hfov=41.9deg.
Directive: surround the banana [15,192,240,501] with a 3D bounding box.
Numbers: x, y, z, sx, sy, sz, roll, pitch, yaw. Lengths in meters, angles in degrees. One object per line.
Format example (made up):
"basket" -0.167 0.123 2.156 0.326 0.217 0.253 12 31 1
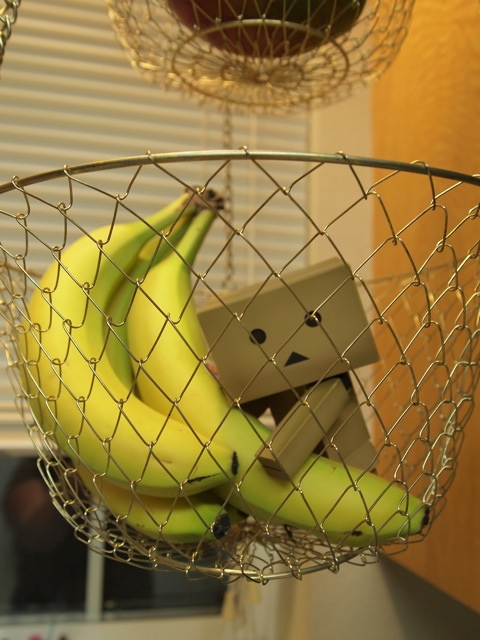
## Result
"banana" -0.088 0.007 0.625 0.178 0.330 0.093 -4 -37 14
